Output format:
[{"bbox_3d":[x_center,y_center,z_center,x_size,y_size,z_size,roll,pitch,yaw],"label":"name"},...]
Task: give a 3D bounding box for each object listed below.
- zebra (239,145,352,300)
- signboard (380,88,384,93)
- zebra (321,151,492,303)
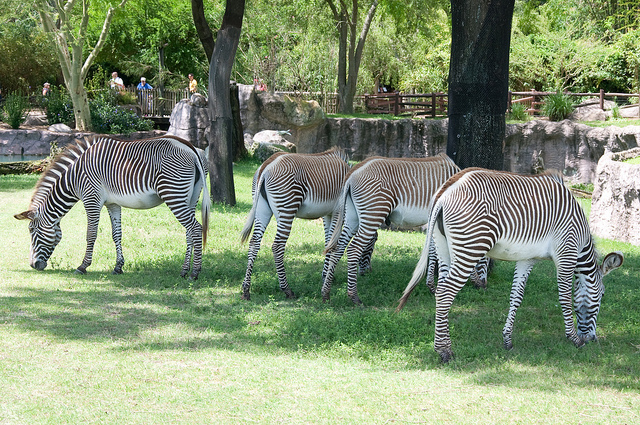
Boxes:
[{"bbox_3d":[-0.090,0.002,16.818,1.068,3.240,4.522,0,5,38],"label":"zebra"},{"bbox_3d":[4.441,-8.793,56.022,0.183,0.257,0.707,4,6,8],"label":"signboard"},{"bbox_3d":[2.243,0.134,16.217,3.956,3.217,1.132,0,-2,-21],"label":"zebra"}]
